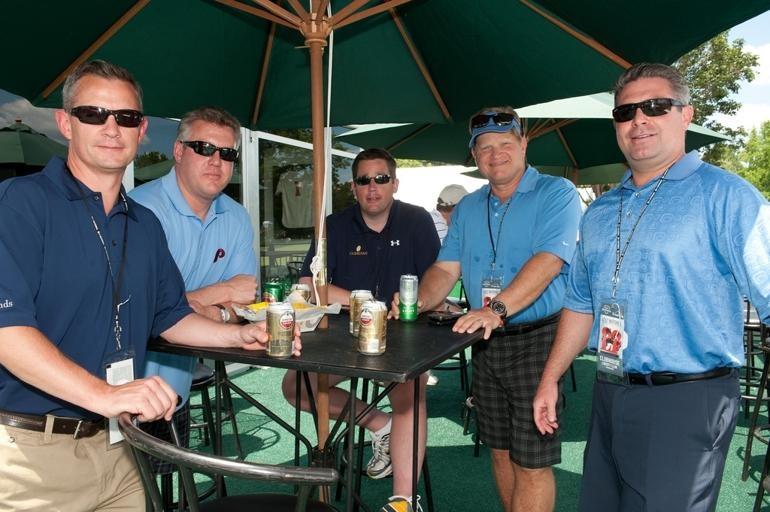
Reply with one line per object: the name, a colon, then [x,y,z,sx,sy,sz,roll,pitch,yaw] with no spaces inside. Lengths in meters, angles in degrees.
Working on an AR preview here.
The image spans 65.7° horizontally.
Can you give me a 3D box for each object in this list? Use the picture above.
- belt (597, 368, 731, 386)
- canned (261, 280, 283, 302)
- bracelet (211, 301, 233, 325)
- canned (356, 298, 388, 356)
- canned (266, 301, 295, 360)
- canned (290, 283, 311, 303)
belt: [1.428,0.608,3.051,0.620,0.101,0.121,-2,-4,23]
canned: [-0.672,0.211,3.566,0.141,0.133,0.129,1,0,-1]
bracelet: [-0.928,0.333,3.465,0.084,0.114,0.112,-8,11,36]
canned: [-0.062,0.357,3.006,0.134,0.265,0.136,0,-3,-1]
canned: [-0.518,0.363,2.971,0.150,0.266,0.138,0,-3,-5]
canned: [-0.498,0.227,3.596,0.125,0.179,0.114,1,0,0]
